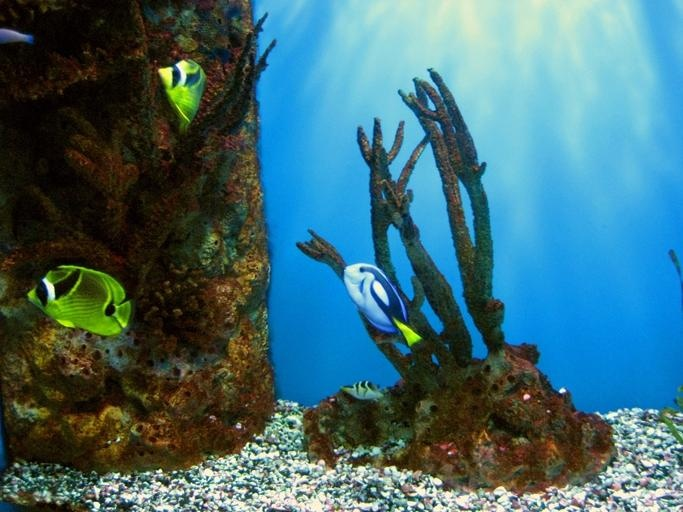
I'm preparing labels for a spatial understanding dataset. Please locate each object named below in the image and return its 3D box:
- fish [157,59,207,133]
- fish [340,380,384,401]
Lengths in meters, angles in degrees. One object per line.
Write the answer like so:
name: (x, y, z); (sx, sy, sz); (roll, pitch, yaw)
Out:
fish: (-1.207, -1.239, 6.228); (0.291, 0.402, 0.305); (-3, 2, 12)
fish: (0.178, 1.217, 7.309); (0.379, 0.213, 0.292); (-3, 2, 4)
